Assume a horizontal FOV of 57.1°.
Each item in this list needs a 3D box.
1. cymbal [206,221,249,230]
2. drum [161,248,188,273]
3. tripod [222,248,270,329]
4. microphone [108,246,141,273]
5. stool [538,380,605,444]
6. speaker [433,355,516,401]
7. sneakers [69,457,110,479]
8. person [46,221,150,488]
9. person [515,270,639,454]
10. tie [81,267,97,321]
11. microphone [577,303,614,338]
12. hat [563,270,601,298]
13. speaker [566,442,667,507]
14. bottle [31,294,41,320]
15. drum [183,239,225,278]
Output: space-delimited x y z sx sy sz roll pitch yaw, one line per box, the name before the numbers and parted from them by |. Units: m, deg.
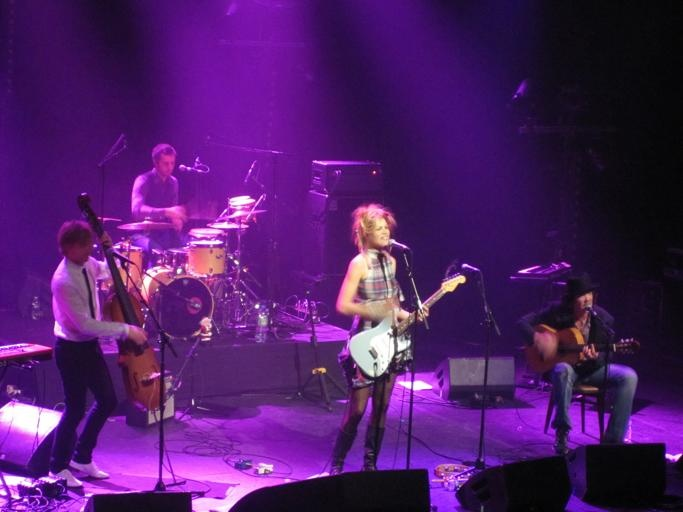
cymbal | -1.800 -0.481 9.784 0.559 0.123 0.577 4 4 -2
drum | -2.500 0.055 9.419 0.327 0.325 0.336 1 5 -29
tripod | -1.528 0.524 10.022 0.639 1.159 0.754 5 4 24
microphone | -2.545 0.020 7.346 0.266 0.282 0.271 10 13 33
stool | 2.793 1.817 7.409 0.533 0.505 0.552 4 -12 20
speaker | 1.865 1.546 8.900 0.772 0.563 0.660 1 6 -5
sneakers | -2.552 2.127 6.334 0.350 0.168 0.130 25 3 -14
person | -2.468 0.945 6.158 0.781 2.569 0.524 3 4 -6
person | 2.706 1.201 7.277 0.982 1.998 1.194 0 5 -39
tie | -2.445 0.361 6.111 0.060 0.461 0.176 -2 1 8
microphone | 2.903 0.742 7.238 0.274 0.150 0.539 24 -3 0
hat | 3.239 0.366 8.583 0.395 0.168 0.362 -18 2 31
speaker | 2.543 2.014 6.023 0.797 0.604 0.668 3 15 -16
bottle | -4.542 0.761 9.355 0.166 0.318 0.071 -2 -1 -34
drum | -2.071 0.014 9.473 0.495 0.403 0.517 1 3 0
